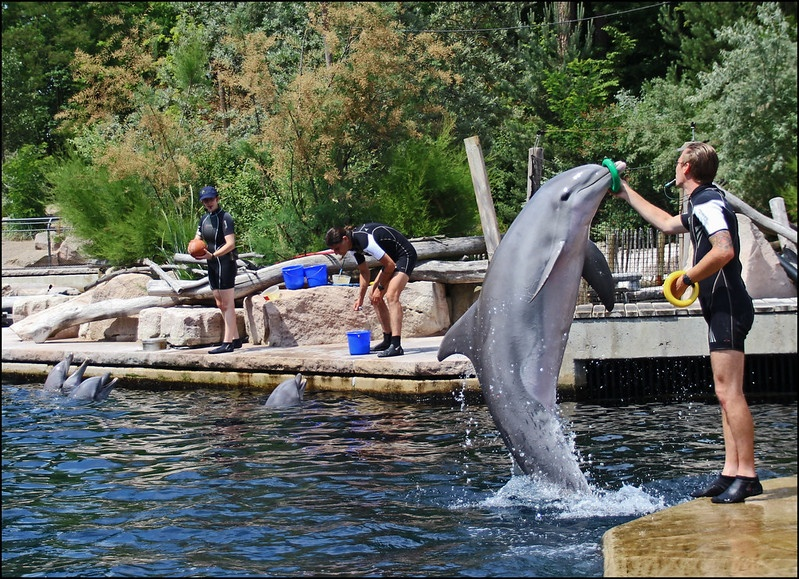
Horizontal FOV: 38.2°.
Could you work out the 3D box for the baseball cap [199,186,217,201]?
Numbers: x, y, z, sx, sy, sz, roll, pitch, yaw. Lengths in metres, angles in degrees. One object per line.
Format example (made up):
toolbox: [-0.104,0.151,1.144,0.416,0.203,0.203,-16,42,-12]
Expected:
baseball cap: [-2.900,-1.477,17.635,0.210,0.157,0.290,-15,2,4]

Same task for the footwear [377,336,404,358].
footwear: [-0.183,0.833,16.734,0.488,0.326,0.187,-1,0,-22]

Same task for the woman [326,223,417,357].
woman: [-0.296,-0.008,16.866,1.165,1.939,0.674,-6,4,0]

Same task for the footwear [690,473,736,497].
footwear: [3.397,2.127,12.550,0.557,0.224,0.193,-17,14,33]

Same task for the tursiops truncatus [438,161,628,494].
tursiops truncatus: [1.414,0.345,13.051,1.460,3.451,1.710,13,10,-10]

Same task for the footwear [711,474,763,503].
footwear: [3.619,2.110,12.397,0.603,0.254,0.214,-13,11,-2]

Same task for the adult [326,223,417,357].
adult: [-0.295,-0.008,16.866,1.163,1.939,0.676,-6,4,0]
